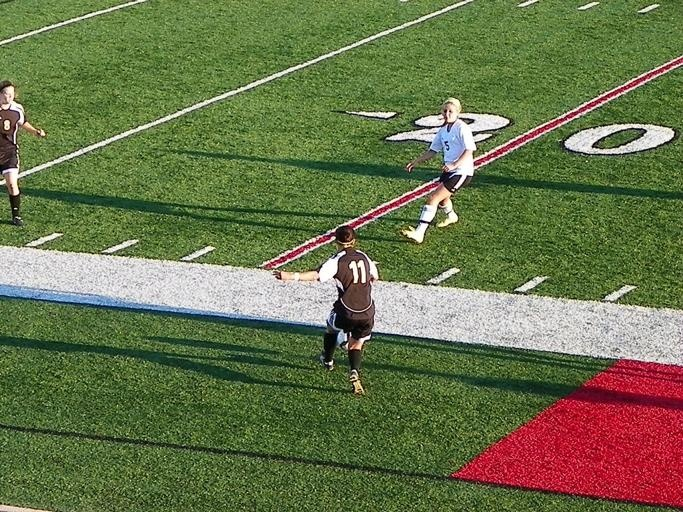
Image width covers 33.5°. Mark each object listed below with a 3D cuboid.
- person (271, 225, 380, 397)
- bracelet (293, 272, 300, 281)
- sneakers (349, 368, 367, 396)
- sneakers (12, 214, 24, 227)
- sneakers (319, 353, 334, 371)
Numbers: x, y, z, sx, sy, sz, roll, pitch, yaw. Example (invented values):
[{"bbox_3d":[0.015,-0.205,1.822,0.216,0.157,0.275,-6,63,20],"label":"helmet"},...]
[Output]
[{"bbox_3d":[0.000,0.685,14.650,0.897,2.117,0.905,3,32,14],"label":"person"},{"bbox_3d":[-0.556,0.252,14.135,0.064,0.087,0.062,4,32,15],"label":"bracelet"},{"bbox_3d":[0.189,1.637,14.723,0.149,0.385,0.184,-8,56,11],"label":"sneakers"},{"bbox_3d":[-5.239,-0.555,18.217,0.226,0.202,0.105,5,14,25],"label":"sneakers"},{"bbox_3d":[-0.198,1.417,15.192,0.109,0.120,0.297,-5,19,-19],"label":"sneakers"}]
